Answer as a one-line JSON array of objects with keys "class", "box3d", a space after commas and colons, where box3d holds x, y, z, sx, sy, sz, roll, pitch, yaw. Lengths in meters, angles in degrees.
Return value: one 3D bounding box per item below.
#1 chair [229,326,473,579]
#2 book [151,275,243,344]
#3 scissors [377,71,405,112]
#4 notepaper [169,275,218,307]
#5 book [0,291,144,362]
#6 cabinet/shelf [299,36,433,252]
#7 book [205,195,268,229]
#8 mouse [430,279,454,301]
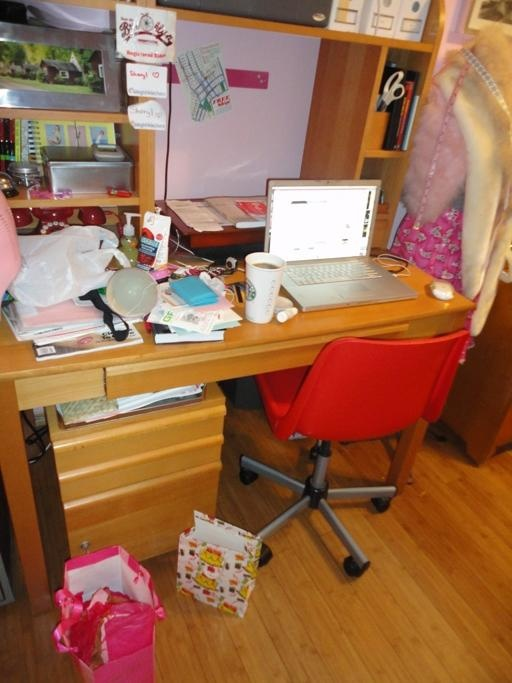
[{"class": "chair", "box3d": [0.265, 0.338, 1.402, 0.522, 0.683, 0.483, -3, 41, -15]}, {"class": "book", "box3d": [-0.122, -0.056, 1.018, 0.159, 0.037, 0.144, -10, 46, -18]}, {"class": "scissors", "box3d": [0.393, -0.725, 1.460, 0.025, 0.057, 0.100, -6, -4, -29]}, {"class": "notepaper", "box3d": [-0.132, -0.123, 1.075, 0.068, 0.020, 0.085, -14, 40, -26]}, {"class": "book", "box3d": [-0.355, -0.044, 0.989, 0.223, 0.041, 0.222, -17, 41, -30]}, {"class": "cabinet/shelf", "box3d": [0.266, -0.717, 1.628, 0.197, 0.500, 0.187, -14, 44, -27]}, {"class": "book", "box3d": [-0.057, -0.404, 1.543, 0.189, 0.032, 0.311, 3, 35, -6]}, {"class": "mouse", "box3d": [0.505, -0.138, 1.378, 0.057, 0.020, 0.055, -11, 45, -28]}]
